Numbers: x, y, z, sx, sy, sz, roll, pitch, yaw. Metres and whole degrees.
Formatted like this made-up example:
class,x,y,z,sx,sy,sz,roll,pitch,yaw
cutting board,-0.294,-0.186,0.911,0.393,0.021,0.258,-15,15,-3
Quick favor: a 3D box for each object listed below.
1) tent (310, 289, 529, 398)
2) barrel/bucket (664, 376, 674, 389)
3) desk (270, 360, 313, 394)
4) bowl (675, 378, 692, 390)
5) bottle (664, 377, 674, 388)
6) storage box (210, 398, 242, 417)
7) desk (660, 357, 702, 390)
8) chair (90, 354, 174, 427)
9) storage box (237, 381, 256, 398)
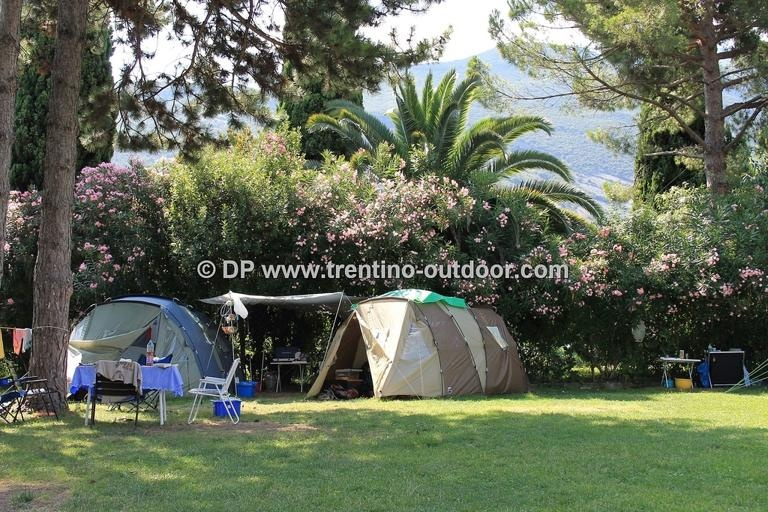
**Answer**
class,x,y,z,sx,sy,sz,roll,pitch,yaw
tent,1.134,2.132,23.178,4.044,2.151,2.719,1,-4,-34
barrel/bucket,7.183,3.241,24.714,0.265,0.224,0.393,0,10,24
desk,-2.396,2.988,24.804,0.866,0.864,0.921,-1,2,-1
bowl,7.524,3.232,24.482,0.296,0.217,0.309,-1,-2,0
bottle,7.193,3.241,24.695,0.187,0.267,0.267,1,4,28
storage box,-3.296,3.152,20.182,0.518,0.267,0.357,1,-3,-16
desk,7.535,3.054,24.869,1.015,0.758,0.874,1,-7,26
chair,-5.051,2.471,19.614,1.566,1.092,1.291,1,0,11
storage box,-3.315,3.214,23.328,0.398,0.307,0.328,0,-7,3
